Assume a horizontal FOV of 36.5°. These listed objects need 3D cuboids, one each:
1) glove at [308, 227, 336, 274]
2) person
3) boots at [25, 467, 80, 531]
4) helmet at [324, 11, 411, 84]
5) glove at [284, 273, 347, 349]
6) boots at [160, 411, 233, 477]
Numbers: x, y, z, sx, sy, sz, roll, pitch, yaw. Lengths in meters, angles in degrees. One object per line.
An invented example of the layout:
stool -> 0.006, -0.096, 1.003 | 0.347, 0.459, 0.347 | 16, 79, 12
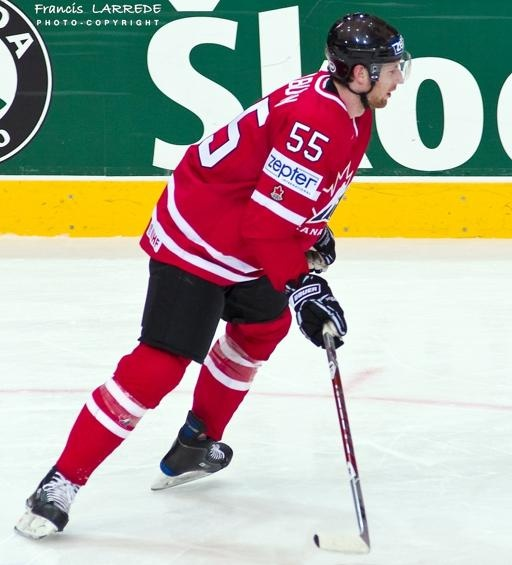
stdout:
glove -> 0.178, -0.062, 1.918 | 0.070, 0.065, 0.024 | 39, 55, 3
person -> -0.075, -0.035, 1.729 | 0.679, 1.197, 0.361 | 10, 14, -29
boots -> -0.420, 0.456, 1.643 | 0.057, 0.077, 0.165 | 42, 1, -9
helmet -> 0.238, -0.491, 1.672 | 0.188, 0.143, 0.117 | 3, 42, 5
glove -> 0.161, 0.069, 1.802 | 0.179, 0.118, 0.080 | 56, 24, -8
boots -> -0.135, 0.412, 1.961 | 0.091, 0.158, 0.257 | 27, 5, 34
